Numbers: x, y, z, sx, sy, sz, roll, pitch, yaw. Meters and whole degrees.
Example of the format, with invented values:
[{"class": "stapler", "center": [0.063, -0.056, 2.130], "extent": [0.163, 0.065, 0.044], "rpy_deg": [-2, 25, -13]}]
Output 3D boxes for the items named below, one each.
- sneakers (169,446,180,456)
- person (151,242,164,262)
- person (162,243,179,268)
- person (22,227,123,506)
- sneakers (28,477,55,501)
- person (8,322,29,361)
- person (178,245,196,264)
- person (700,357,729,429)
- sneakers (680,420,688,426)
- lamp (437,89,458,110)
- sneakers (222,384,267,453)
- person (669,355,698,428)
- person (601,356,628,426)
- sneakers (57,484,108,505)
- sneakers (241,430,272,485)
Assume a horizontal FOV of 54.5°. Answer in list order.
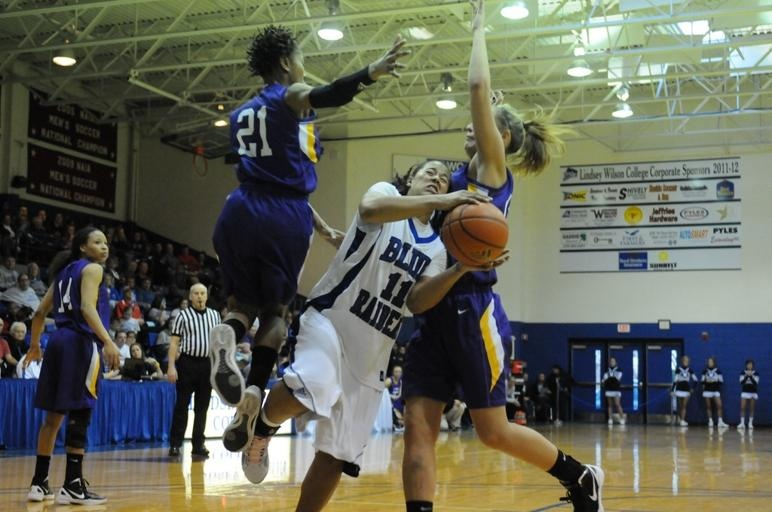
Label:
[{"class": "sneakers", "center": [-3.218, 2.967, 11.415], "extent": [0.159, 0.142, 0.157], "rpy_deg": [3, -10, -18]}, {"class": "person", "center": [-7.309, -0.186, 24.046], "extent": [0.316, 0.750, 1.324], "rpy_deg": [3, -10, -17]}, {"class": "person", "center": [-6.881, -0.042, 24.027], "extent": [0.455, 0.851, 0.857], "rpy_deg": [3, -10, -16]}, {"class": "person", "center": [-3.560, 1.172, 8.608], "extent": [1.170, 3.162, 0.463], "rpy_deg": [-3, -9, 20]}, {"class": "sneakers", "center": [-3.880, 2.625, 8.457], "extent": [0.293, 0.235, 0.209], "rpy_deg": [6, -11, -31]}, {"class": "person", "center": [-6.955, 1.587, 14.206], "extent": [0.549, 0.742, 0.249], "rpy_deg": [1, 3, -17]}, {"class": "person", "center": [-6.683, -0.052, 25.241], "extent": [0.546, 0.782, 1.377], "rpy_deg": [3, -10, -16]}, {"class": "person", "center": [10.358, 4.227, 23.612], "extent": [0.698, 2.130, 1.120], "rpy_deg": [-3, -10, 24]}, {"class": "sneakers", "center": [9.300, 5.167, 23.297], "extent": [0.269, 0.187, 0.262], "rpy_deg": [-1, -7, 6]}, {"class": "lamp", "center": [1.783, -4.534, 21.440], "extent": [0.534, 0.583, 0.527], "rpy_deg": [12, -16, -32]}, {"class": "sneakers", "center": [-1.238, 1.429, 6.737], "extent": [0.263, 0.622, 0.262], "rpy_deg": [26, -12, -6]}, {"class": "person", "center": [9.464, 4.195, 23.704], "extent": [0.723, 2.175, 1.448], "rpy_deg": [-3, -9, 20]}, {"class": "person", "center": [7.557, 4.370, 24.710], "extent": [0.688, 2.155, 1.168], "rpy_deg": [-2, -9, 16]}, {"class": "sneakers", "center": [-3.364, 2.638, 8.373], "extent": [0.610, 0.286, 0.210], "rpy_deg": [2, -8, -2]}, {"class": "sneakers", "center": [-1.171, 1.812, 6.828], "extent": [0.186, 0.566, 0.215], "rpy_deg": [-2, 19, -2]}]
